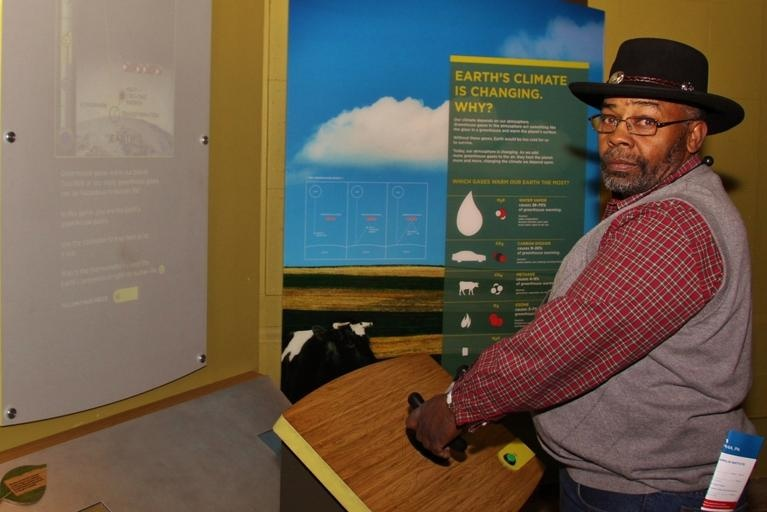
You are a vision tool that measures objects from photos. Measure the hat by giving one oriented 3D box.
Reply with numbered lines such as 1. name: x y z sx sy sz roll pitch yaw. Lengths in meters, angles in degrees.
1. hat: 0.877 -0.568 1.794 0.526 0.210 0.593 21 19 27
